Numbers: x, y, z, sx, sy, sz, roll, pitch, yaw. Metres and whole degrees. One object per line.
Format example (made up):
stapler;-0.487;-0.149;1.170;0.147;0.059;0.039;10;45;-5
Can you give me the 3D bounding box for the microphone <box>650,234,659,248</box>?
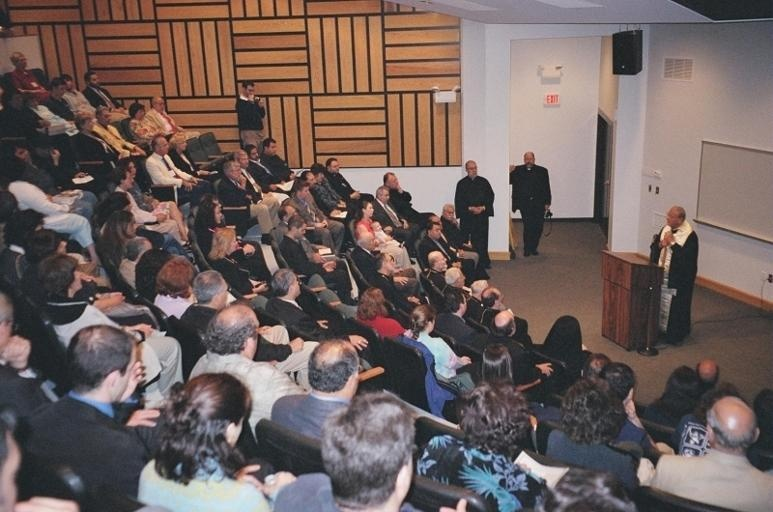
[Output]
microphone;3.397;-0.201;7.672;0.101;0.197;0.349;7;14;24
